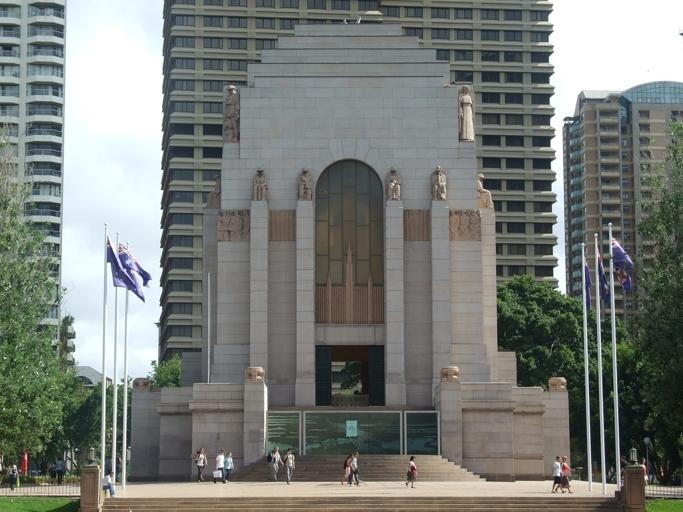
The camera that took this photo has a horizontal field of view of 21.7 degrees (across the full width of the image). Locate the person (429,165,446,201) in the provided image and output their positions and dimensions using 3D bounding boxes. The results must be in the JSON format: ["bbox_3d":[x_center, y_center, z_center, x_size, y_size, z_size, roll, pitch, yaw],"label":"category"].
[{"bbox_3d":[8.453,-6.134,155.244,1.336,3.123,0.889,-2,-11,0],"label":"person"}]

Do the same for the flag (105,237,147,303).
[{"bbox_3d":[-14.596,0.936,117.143,0.642,4.732,3.706,-17,-29,39],"label":"flag"}]

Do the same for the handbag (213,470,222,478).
[{"bbox_3d":[-10.136,17.667,144.056,0.651,0.652,1.774,-1,-12,-5],"label":"handbag"}]

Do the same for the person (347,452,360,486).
[{"bbox_3d":[0.871,16.856,140.745,0.887,2.572,1.285,-2,-11,1],"label":"person"}]
